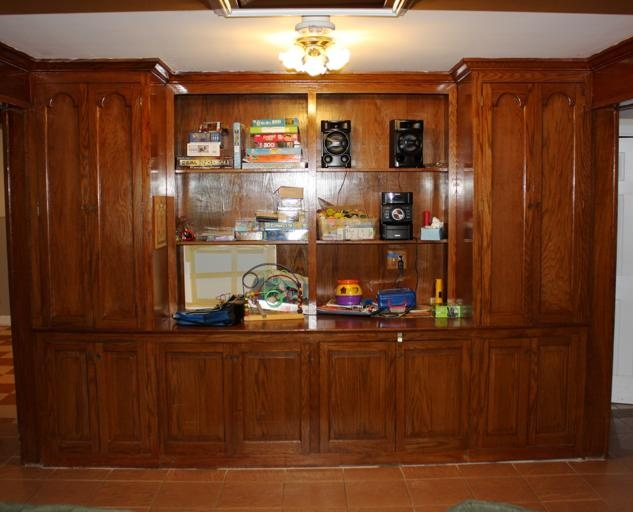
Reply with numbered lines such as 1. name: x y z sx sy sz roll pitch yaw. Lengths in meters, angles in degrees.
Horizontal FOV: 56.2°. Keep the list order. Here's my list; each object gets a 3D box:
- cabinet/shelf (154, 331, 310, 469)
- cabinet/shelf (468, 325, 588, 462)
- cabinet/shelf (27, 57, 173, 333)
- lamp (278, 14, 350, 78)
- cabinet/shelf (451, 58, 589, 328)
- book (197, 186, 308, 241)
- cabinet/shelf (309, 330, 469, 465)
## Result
1. cabinet/shelf: -0.617 0.958 4.093 1.087 0.801 0.374 0 -1 -1
2. cabinet/shelf: 1.438 0.931 4.139 1.051 1.091 0.409 1 -3 -7
3. cabinet/shelf: -1.541 -0.384 4.037 0.828 1.737 0.353 0 13 2
4. lamp: -0.008 -1.238 3.448 0.312 0.292 0.293 -1 1 2
5. cabinet/shelf: 1.483 -0.413 4.091 0.824 1.755 0.358 -1 13 -4
6. book: -0.381 -0.322 4.748 0.912 0.413 0.413 -2 1 3
7. cabinet/shelf: 0.516 1.000 4.284 1.168 0.867 0.406 2 -10 -14
